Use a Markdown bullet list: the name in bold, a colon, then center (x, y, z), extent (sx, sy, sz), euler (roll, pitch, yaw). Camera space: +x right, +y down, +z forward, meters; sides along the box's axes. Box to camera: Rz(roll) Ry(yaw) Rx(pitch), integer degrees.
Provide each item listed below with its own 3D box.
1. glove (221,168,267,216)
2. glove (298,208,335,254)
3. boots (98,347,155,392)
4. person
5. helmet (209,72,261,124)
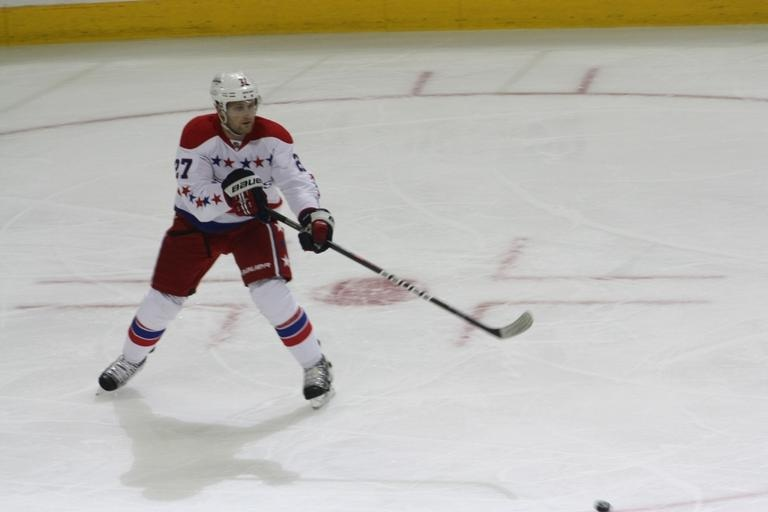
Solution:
- **glove**: center (-0.630, -0.278, 3.606), extent (0.232, 0.209, 0.093), euler (-9, 28, -3)
- **glove**: center (-0.320, -0.118, 3.731), extent (0.155, 0.213, 0.142), euler (0, 19, -6)
- **boots**: center (-1.284, 0.542, 3.961), extent (0.106, 0.122, 0.318), euler (45, 34, 7)
- **person**: center (-0.772, -0.073, 3.752), extent (1.110, 1.521, 0.573), euler (2, 21, 0)
- **helmet**: center (-0.683, -0.739, 3.733), extent (0.216, 0.179, 0.227), euler (-17, 27, -26)
